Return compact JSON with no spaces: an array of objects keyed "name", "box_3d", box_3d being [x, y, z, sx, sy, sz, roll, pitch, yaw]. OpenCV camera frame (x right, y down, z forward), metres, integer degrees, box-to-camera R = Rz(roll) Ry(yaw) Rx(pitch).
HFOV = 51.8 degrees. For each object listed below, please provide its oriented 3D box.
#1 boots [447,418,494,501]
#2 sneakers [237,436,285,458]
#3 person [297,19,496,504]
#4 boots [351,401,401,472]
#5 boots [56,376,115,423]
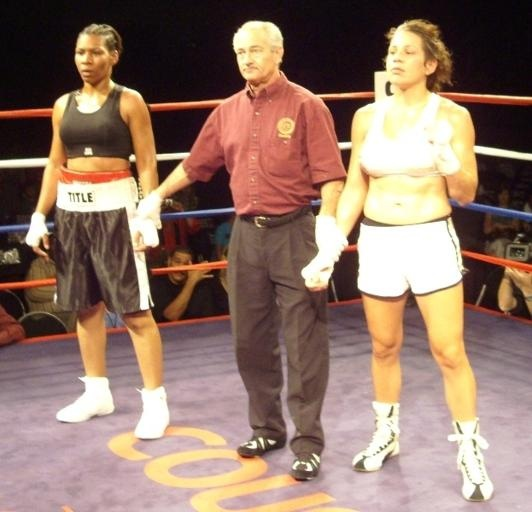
[{"name":"boots","box_3d":[0.597,0.599,1.624,0.118,0.100,0.223,-9,44,18]},{"name":"sneakers","box_3d":[-0.021,0.660,1.929,0.178,0.063,0.056,0,1,-31]},{"name":"person","box_3d":[0.406,-0.008,1.657,0.525,1.411,0.495,1,7,32]},{"name":"boots","box_3d":[0.362,0.600,1.831,0.097,0.197,0.268,1,3,35]},{"name":"boots","box_3d":[-0.750,0.605,2.320,0.306,0.178,0.113,-1,1,-33]}]
